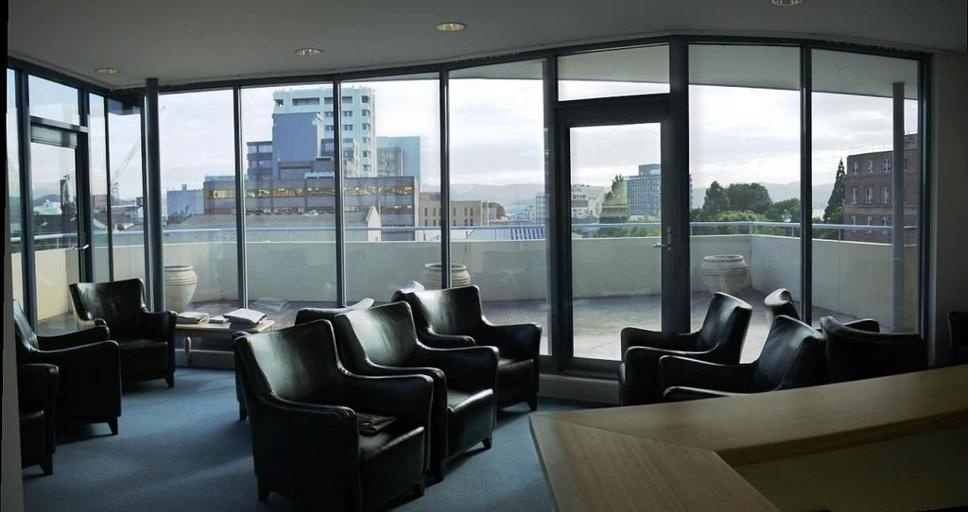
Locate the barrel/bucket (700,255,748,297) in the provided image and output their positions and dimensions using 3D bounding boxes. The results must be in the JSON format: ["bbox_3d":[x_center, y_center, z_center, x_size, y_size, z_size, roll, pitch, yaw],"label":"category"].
[{"bbox_3d":[2.800,0.224,7.248,0.534,0.438,0.492,-2,4,0],"label":"barrel/bucket"}]

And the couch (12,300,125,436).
[{"bbox_3d":[-4.555,1.153,6.595,1.074,1.169,1.005,2,5,-28],"label":"couch"}]

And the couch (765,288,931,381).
[{"bbox_3d":[3.522,0.720,5.966,1.196,1.132,0.928,-11,2,-5],"label":"couch"}]

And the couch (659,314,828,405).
[{"bbox_3d":[2.263,1.008,5.501,1.171,1.160,0.894,-1,0,-3],"label":"couch"}]

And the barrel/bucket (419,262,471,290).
[{"bbox_3d":[-0.479,0.257,7.714,0.454,0.230,0.430,0,1,0],"label":"barrel/bucket"}]
